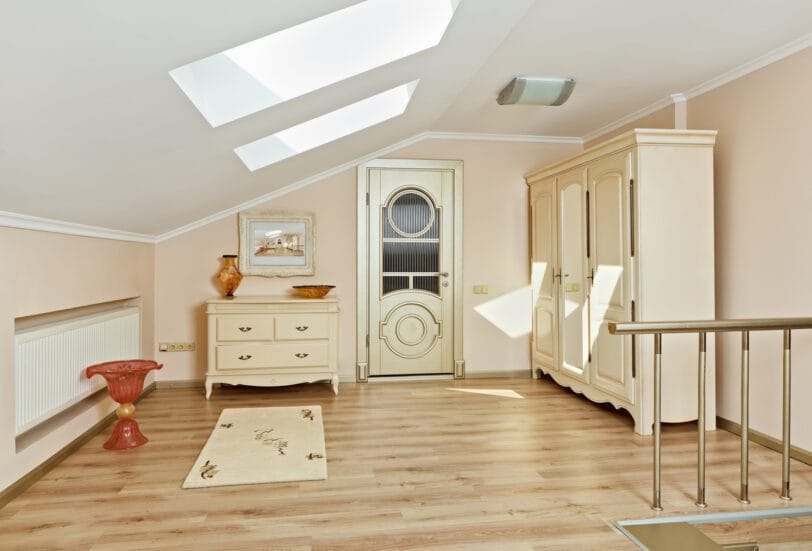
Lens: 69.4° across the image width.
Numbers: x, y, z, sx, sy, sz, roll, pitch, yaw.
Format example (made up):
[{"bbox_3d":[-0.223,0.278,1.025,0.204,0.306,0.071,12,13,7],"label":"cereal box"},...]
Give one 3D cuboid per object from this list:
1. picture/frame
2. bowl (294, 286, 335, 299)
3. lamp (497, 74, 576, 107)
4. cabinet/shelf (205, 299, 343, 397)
[{"bbox_3d":[-1.312,-0.335,5.819,0.823,0.606,0.080,0,0,-3],"label":"picture/frame"},{"bbox_3d":[-0.880,0.150,5.687,0.400,0.137,0.425,0,12,0],"label":"bowl"},{"bbox_3d":[1.043,-1.482,4.710,0.623,0.180,0.416,1,12,6],"label":"lamp"},{"bbox_3d":[-1.234,0.469,5.759,1.510,0.963,0.866,0,-3,-5],"label":"cabinet/shelf"}]
